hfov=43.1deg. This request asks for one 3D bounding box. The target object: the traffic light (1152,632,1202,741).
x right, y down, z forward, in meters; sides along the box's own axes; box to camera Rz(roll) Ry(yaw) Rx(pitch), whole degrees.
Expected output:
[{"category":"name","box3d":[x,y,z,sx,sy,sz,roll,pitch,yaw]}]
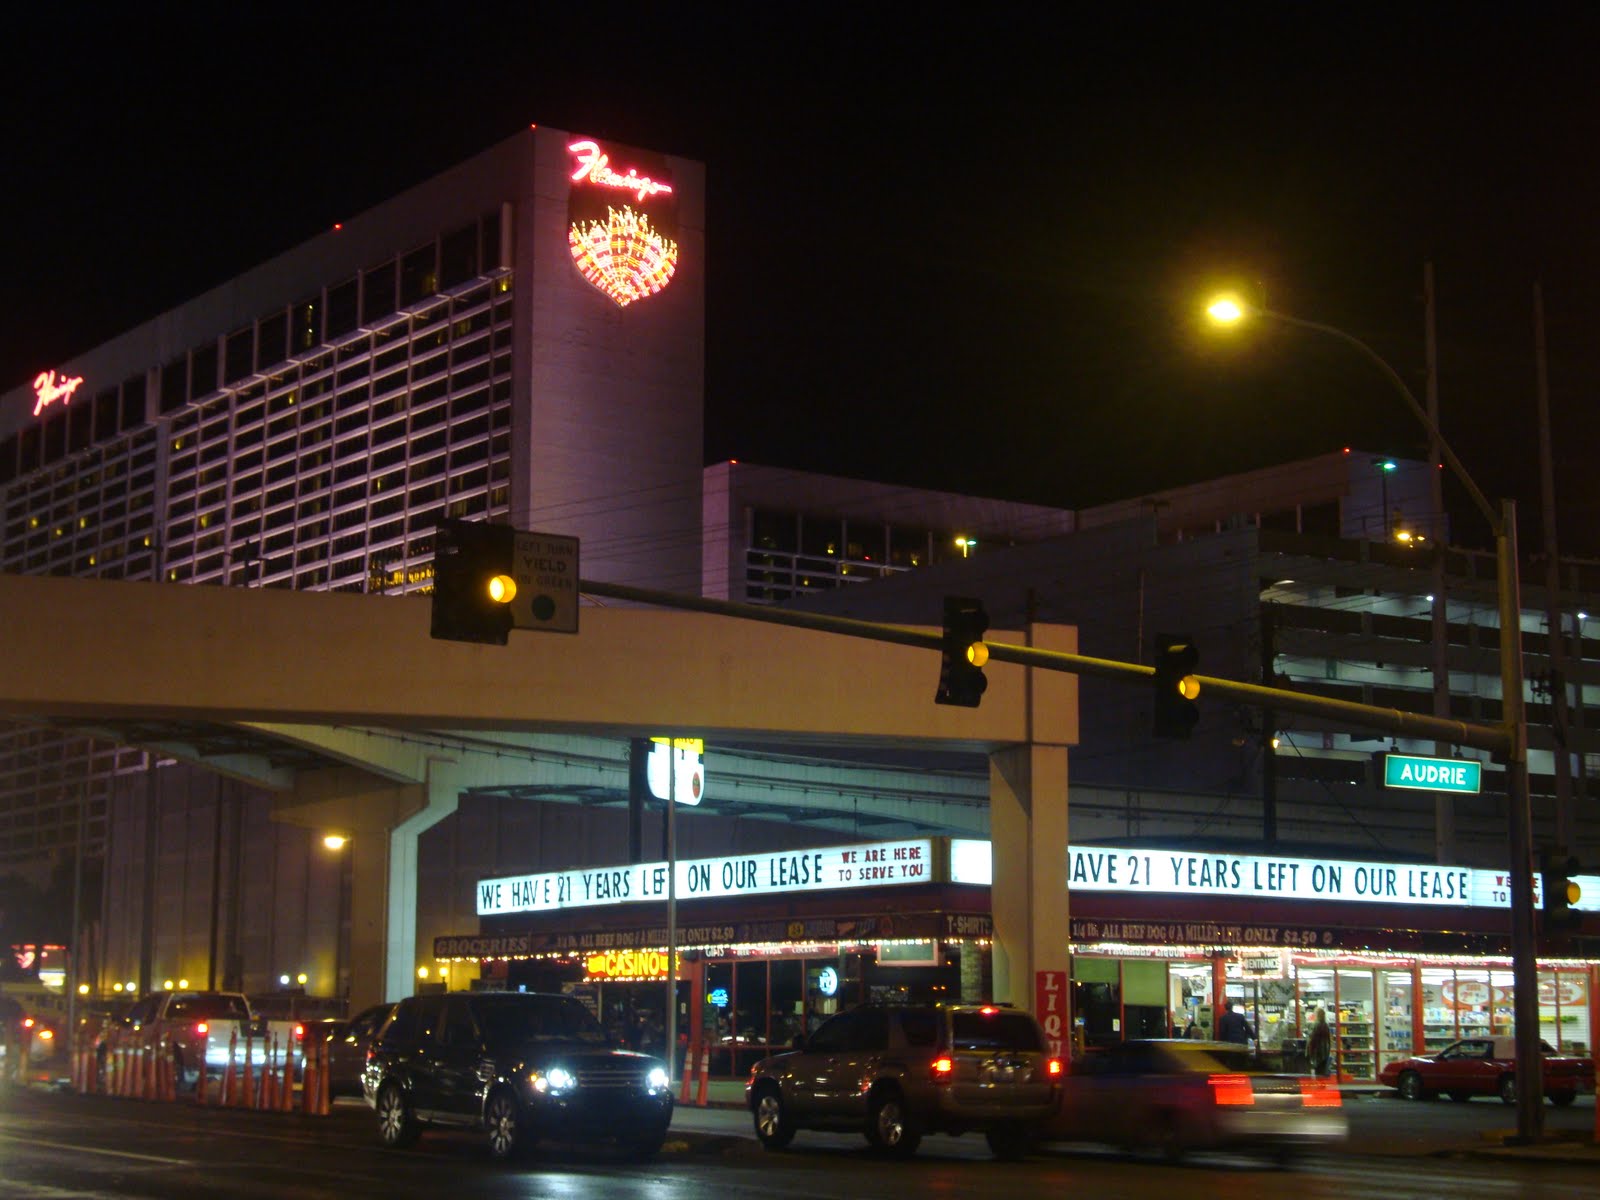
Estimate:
[{"category":"traffic light","box3d":[5.380,1.300,28.851,0.664,1.500,1.327,-4,-17,10]}]

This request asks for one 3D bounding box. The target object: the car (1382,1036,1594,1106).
[{"category":"car","box3d":[15.388,10.561,45.496,1.764,1.289,3.896,8,-9,-41]}]
